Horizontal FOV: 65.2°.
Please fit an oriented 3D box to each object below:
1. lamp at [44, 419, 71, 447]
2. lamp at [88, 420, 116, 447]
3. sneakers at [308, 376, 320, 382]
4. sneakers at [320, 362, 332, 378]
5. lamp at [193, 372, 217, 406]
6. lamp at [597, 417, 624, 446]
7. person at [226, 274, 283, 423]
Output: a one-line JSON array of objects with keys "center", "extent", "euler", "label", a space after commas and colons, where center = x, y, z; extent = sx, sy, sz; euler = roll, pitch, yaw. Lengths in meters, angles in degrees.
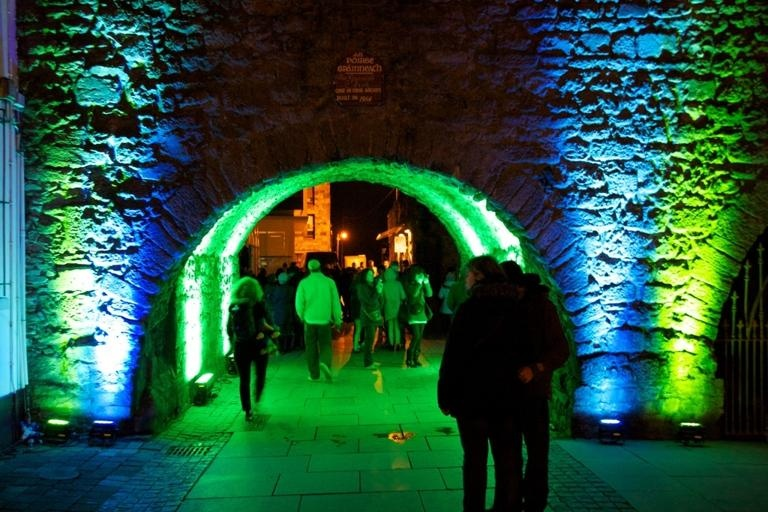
[{"center": [-4.287, 2.293, 7.868], "extent": [0.315, 0.260, 0.288], "euler": [-1, 7, -11], "label": "lamp"}, {"center": [-3.641, 2.306, 7.767], "extent": [0.258, 0.189, 0.366], "euler": [2, 5, -8], "label": "lamp"}, {"center": [-1.243, 2.168, 10.607], "extent": [0.205, 0.079, 0.184], "euler": [0, 6, -4], "label": "sneakers"}, {"center": [-1.009, 2.030, 10.501], "extent": [0.133, 0.345, 0.146], "euler": [-17, 18, -4], "label": "sneakers"}, {"center": [-2.843, 2.119, 9.468], "extent": [0.168, 0.235, 0.515], "euler": [0, 2, -4], "label": "lamp"}, {"center": [2.965, 2.304, 7.965], "extent": [0.404, 0.328, 0.275], "euler": [1, -1, 4], "label": "lamp"}, {"center": [-1.933, 1.340, 8.871], "extent": [0.711, 2.052, 0.878], "euler": [-1, 7, -10], "label": "person"}]
